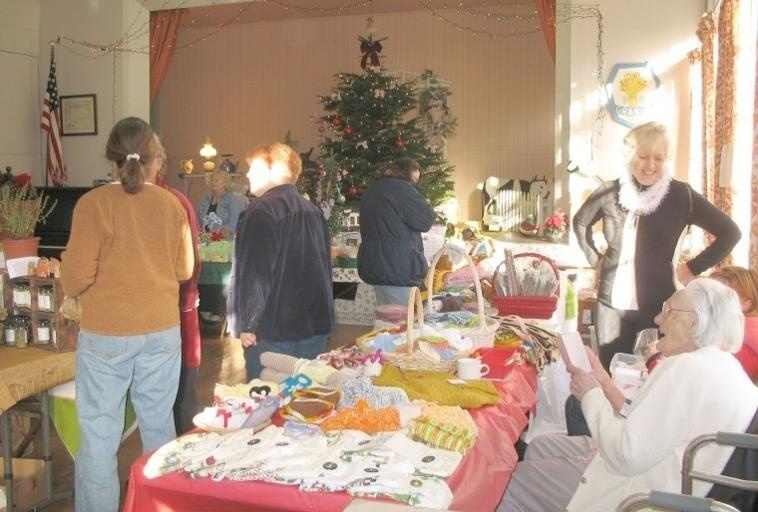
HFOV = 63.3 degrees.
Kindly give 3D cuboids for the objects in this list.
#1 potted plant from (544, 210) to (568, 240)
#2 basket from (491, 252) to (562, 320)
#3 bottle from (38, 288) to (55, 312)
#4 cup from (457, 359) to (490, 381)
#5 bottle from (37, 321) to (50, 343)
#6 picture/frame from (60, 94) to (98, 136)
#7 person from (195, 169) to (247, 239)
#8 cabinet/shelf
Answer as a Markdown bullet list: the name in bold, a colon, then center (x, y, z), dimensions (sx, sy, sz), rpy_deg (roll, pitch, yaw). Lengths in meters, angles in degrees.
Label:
- **potted plant**: center (2.106, -0.368, 7.391), dimensions (0.355, 0.377, 0.306), rpy_deg (1, 3, 1)
- **basket**: center (0.942, 0.202, 4.062), dimensions (0.457, 0.472, 0.414), rpy_deg (0, 1, 6)
- **bottle**: center (-1.952, 0.256, 3.578), dimensions (0.137, 0.142, 0.035), rpy_deg (2, 5, 25)
- **cup**: center (0.440, 0.533, 2.930), dimensions (0.129, 0.096, 0.094), rpy_deg (2, 3, 17)
- **bottle**: center (-1.968, 0.445, 3.594), dimensions (0.076, 0.143, 0.021), rpy_deg (-1, 5, 1)
- **picture/frame**: center (-4.298, -2.049, 8.799), dimensions (0.560, 0.593, 0.040), rpy_deg (5, 9, 14)
- **person**: center (-1.919, -0.582, 7.174), dimensions (0.576, 0.857, 0.487), rpy_deg (4, 10, 19)
- **cabinet/shelf**: center (-1.948, 0.342, 3.550), dimensions (0.417, 0.395, 0.150), rpy_deg (4, 5, 23)
